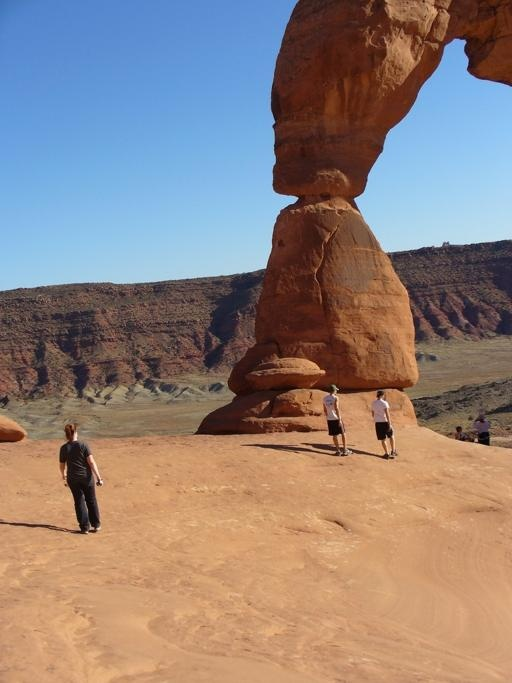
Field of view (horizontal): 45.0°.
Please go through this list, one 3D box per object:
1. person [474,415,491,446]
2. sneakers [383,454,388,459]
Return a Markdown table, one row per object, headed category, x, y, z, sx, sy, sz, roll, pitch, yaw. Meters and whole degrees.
| category | x | y | z | sx | sy | sz | roll | pitch | yaw |
| --- | --- | --- | --- | --- | --- | --- | --- | --- | --- |
| person | 4.568 | 1.767 | 12.529 | 0.315 | 0.618 | 0.864 | 11 | 0 | 20 |
| sneakers | 1.955 | 1.733 | 9.324 | 0.080 | 0.077 | 0.188 | 10 | 0 | 13 |
